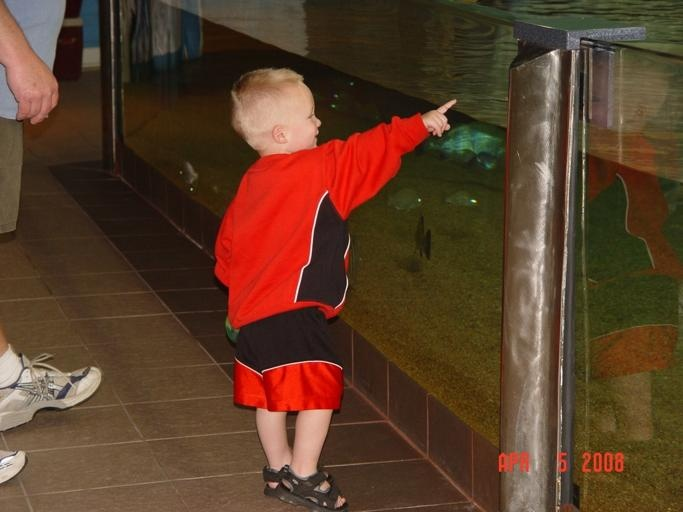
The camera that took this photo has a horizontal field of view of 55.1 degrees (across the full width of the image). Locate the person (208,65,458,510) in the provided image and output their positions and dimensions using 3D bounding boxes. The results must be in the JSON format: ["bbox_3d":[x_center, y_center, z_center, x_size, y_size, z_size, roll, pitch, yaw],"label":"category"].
[{"bbox_3d":[-0.114,0.122,1.936,0.660,1.264,0.414,24,34,36],"label":"person"}]

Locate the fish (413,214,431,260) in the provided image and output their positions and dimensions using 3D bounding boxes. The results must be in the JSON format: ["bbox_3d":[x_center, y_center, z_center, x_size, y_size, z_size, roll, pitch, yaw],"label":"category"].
[{"bbox_3d":[0.279,-0.056,2.205,0.055,0.119,0.077,-7,6,-32],"label":"fish"}]
